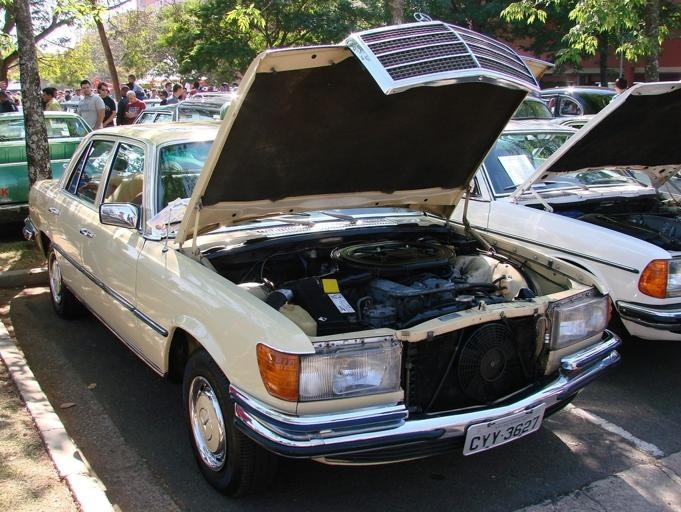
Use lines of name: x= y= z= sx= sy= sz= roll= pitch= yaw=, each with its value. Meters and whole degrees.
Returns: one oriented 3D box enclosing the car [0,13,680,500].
car: x=-0.590 y=-0.362 z=3.973 sx=2.512 sy=2.147 sz=4.438 roll=-12 pitch=24 yaw=-33
